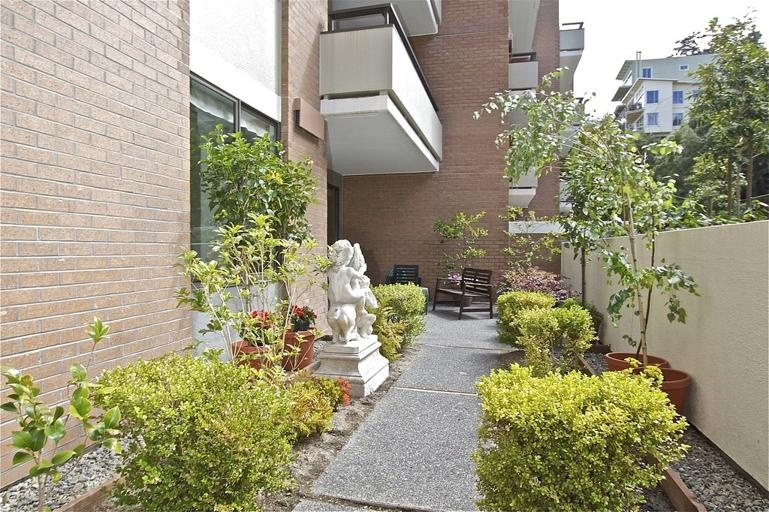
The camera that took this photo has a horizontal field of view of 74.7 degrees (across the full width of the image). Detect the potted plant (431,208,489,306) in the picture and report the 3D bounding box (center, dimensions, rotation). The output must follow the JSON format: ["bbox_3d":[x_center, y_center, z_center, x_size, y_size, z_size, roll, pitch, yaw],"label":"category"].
[{"bbox_3d":[2.014,-0.040,13.158,1.463,2.767,2.553,0,-3,1],"label":"potted plant"}]

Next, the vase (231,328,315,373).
[{"bbox_3d":[-1.252,1.159,6.100,0.681,0.272,0.769,0,-5,3],"label":"vase"}]

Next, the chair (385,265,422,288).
[{"bbox_3d":[0.433,0.484,13.275,0.944,0.864,0.535,1,0,17],"label":"chair"}]

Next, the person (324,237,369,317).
[{"bbox_3d":[-0.485,0.232,6.363,0.486,0.860,0.312,-1,8,-8],"label":"person"}]
